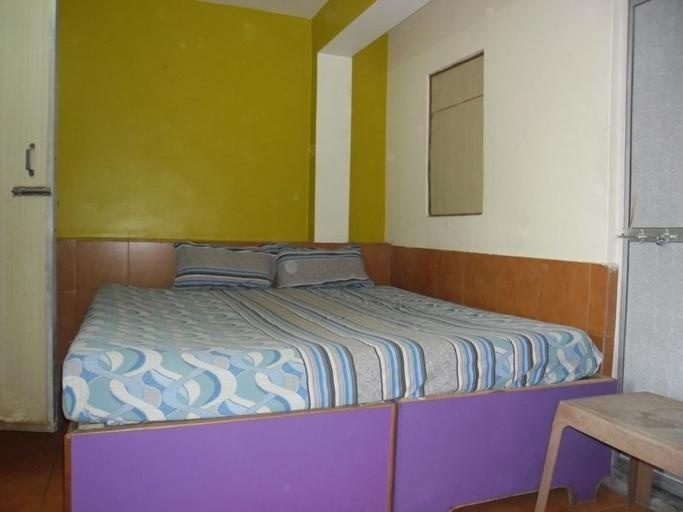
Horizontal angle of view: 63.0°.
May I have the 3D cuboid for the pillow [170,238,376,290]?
[{"bbox_3d":[-0.499,0.069,4.190,1.433,0.314,0.386,0,5,-16],"label":"pillow"}]
